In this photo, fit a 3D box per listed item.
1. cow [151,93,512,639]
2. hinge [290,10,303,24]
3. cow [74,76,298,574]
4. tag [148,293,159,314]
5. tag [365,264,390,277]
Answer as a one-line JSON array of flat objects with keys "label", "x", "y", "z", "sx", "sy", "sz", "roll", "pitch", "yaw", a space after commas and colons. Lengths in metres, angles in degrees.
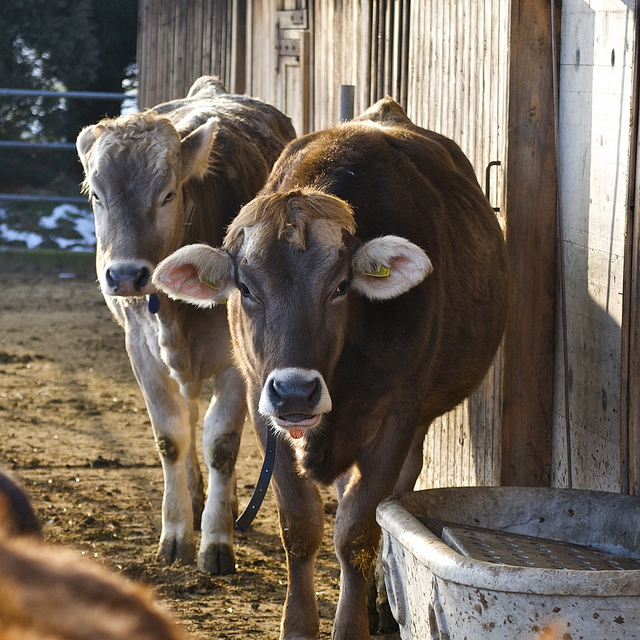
[{"label": "cow", "x": 0.144, "y": 0.232, "z": 6.009, "sx": 0.928, "sy": 1.945, "sz": 1.577, "roll": 9, "pitch": 10, "yaw": 39}, {"label": "hinge", "x": -0.160, "y": -2.024, "z": 10.009, "sx": 0.015, "sy": 0.093, "sz": 0.279, "roll": 0, "pitch": 11, "yaw": -16}, {"label": "cow", "x": -0.599, "y": 0.108, "z": 7.993, "sx": 0.633, "sy": 2.064, "sz": 2.982, "roll": -3, "pitch": 0, "yaw": 10}, {"label": "tag", "x": -0.775, "y": -0.073, "z": 6.931, "sx": 0.035, "sy": 0.101, "sz": 0.019, "roll": 1, "pitch": 6, "yaw": 2}, {"label": "tag", "x": 0.214, "y": -0.182, "z": 5.591, "sx": 0.092, "sy": 0.055, "sz": 0.058, "roll": 4, "pitch": 9, "yaw": 2}]
